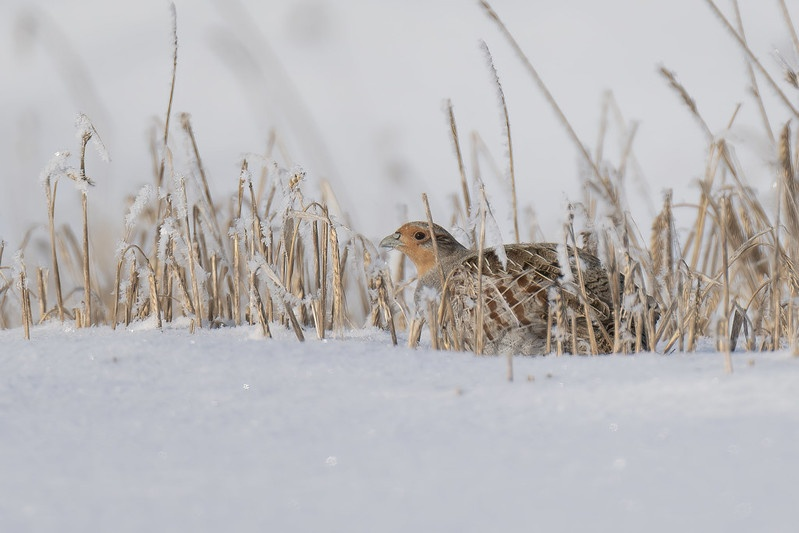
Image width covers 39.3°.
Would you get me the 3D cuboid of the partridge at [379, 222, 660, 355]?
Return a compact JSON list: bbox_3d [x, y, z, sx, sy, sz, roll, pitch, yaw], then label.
[{"bbox_3d":[0.659,0.145,6.730,1.364,0.954,0.735,-1,-14,11],"label":"partridge"}]
